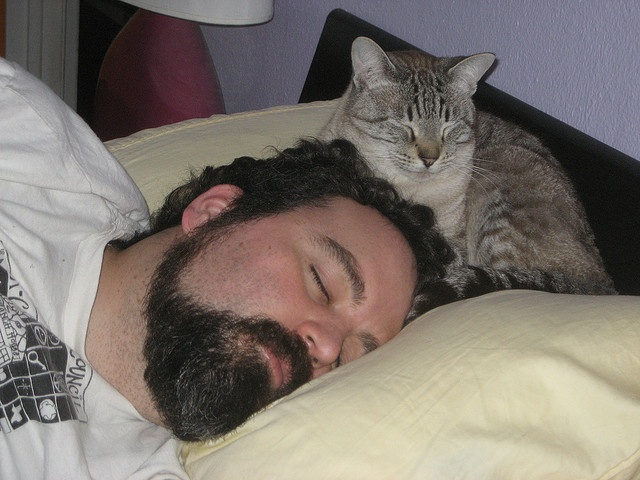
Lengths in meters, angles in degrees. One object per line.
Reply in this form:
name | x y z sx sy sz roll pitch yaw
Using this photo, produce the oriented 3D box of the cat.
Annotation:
cat | 0.427 -0.141 1.582 0.722 0.367 0.471 -9 34 -46
